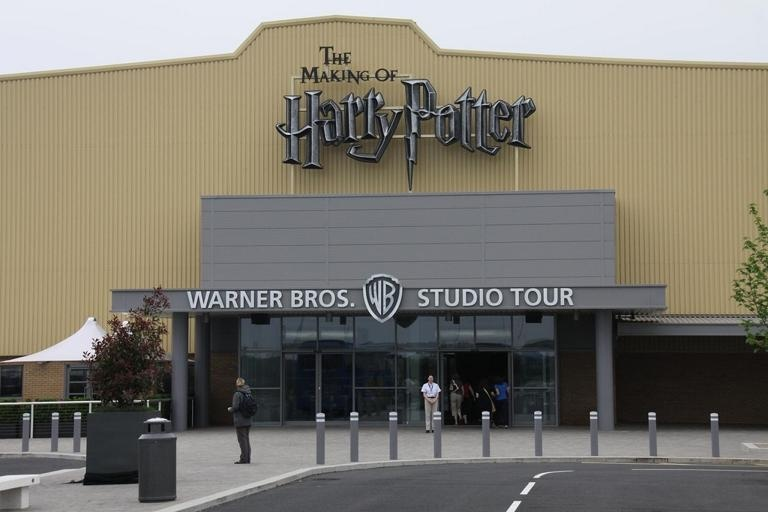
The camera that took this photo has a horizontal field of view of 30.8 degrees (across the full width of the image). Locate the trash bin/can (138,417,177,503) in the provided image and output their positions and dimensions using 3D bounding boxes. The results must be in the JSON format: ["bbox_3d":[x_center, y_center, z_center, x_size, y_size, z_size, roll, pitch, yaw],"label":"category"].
[{"bbox_3d":[-6.524,5.841,40.105,1.094,2.376,0.722,0,-6,-6],"label":"trash bin/can"}]
